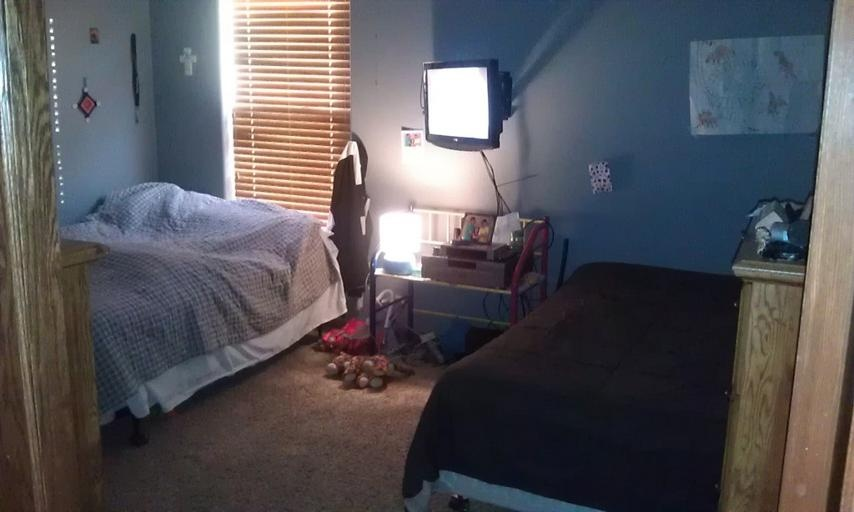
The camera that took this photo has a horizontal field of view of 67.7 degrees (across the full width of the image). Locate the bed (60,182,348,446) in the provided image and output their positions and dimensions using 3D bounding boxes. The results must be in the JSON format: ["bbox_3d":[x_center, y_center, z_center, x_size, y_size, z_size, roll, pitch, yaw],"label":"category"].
[{"bbox_3d":[-1.544,0.400,3.916,1.539,0.515,1.532,9,18,24],"label":"bed"}]

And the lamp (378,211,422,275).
[{"bbox_3d":[-0.189,-0.083,4.500,0.278,0.402,0.260,4,6,30],"label":"lamp"}]

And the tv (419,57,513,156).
[{"bbox_3d":[0.215,-0.989,4.202,0.569,0.562,0.179,10,15,35],"label":"tv"}]

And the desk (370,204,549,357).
[{"bbox_3d":[0.269,0.084,4.469,1.376,1.255,0.793,3,6,26],"label":"desk"}]
